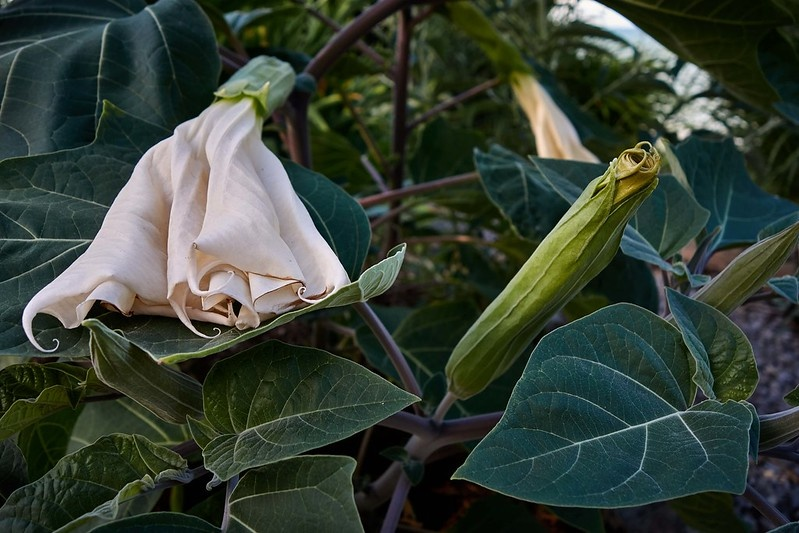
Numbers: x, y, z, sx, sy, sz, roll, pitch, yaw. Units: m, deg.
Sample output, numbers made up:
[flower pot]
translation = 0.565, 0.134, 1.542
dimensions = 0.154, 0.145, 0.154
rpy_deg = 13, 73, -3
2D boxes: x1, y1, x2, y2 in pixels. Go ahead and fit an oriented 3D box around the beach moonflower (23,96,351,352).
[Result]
[beach moonflower]
translation = -0.177, -0.050, 0.995
dimensions = 0.309, 0.138, 0.353
rpy_deg = 12, 49, 30
